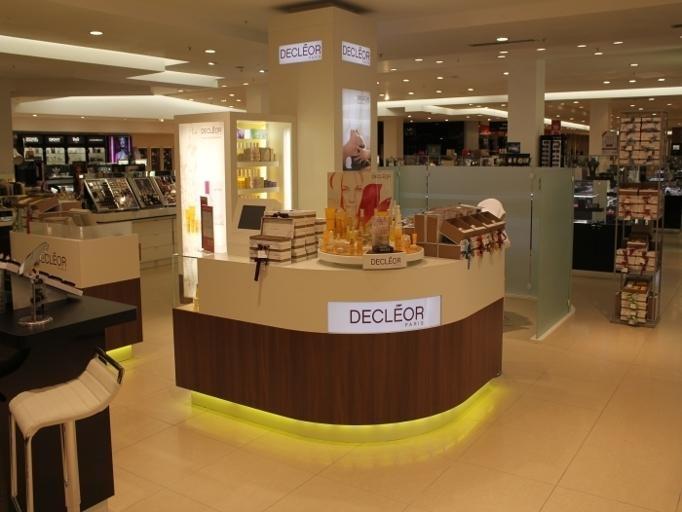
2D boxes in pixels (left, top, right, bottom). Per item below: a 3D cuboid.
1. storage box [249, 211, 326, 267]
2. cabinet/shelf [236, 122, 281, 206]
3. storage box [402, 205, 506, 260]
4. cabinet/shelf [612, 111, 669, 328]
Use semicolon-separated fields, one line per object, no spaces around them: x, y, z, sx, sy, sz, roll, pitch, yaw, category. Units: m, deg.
-0.458;-0.184;4.360;0.700;0.422;0.379;-3;11;-13;storage box
-1.244;-1.328;7.021;0.505;1.140;0.996;4;11;26;cabinet/shelf
1.164;-0.246;4.826;0.526;0.396;1.068;8;14;38;storage box
4.810;-0.682;7.972;0.794;3.001;2.332;6;12;32;cabinet/shelf
